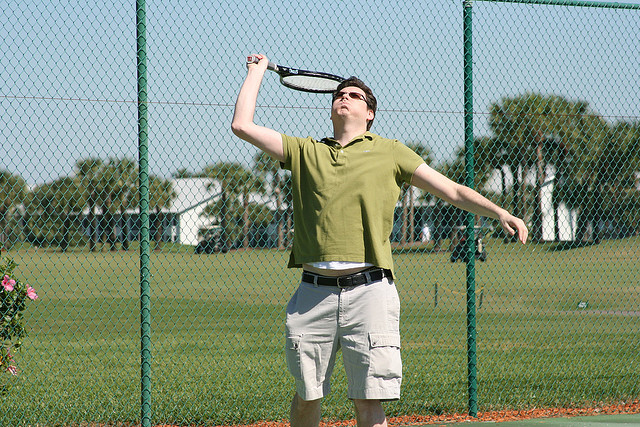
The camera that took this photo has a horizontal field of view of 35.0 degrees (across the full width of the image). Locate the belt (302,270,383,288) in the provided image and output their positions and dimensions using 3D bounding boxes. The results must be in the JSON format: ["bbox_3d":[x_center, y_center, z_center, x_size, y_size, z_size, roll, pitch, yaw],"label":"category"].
[{"bbox_3d":[0.358,0.988,15.604,1.219,0.233,0.168,-3,-2,10],"label":"belt"}]
